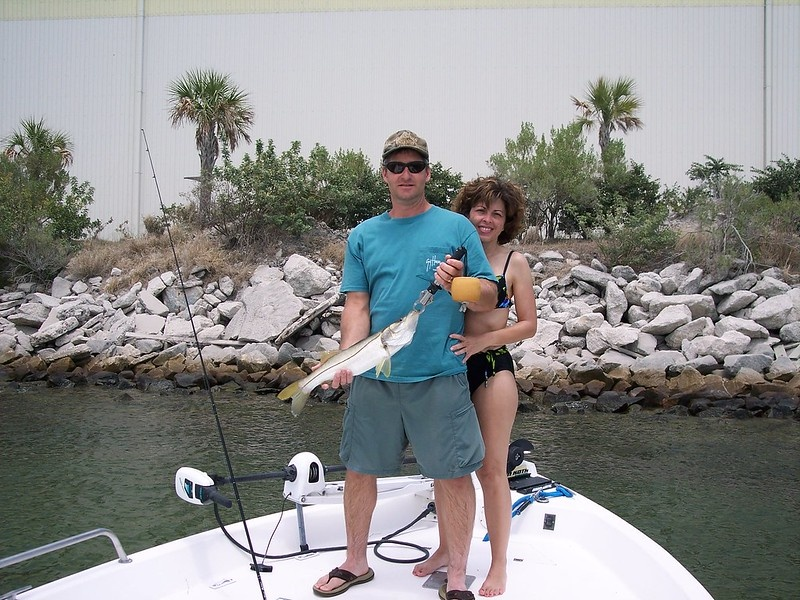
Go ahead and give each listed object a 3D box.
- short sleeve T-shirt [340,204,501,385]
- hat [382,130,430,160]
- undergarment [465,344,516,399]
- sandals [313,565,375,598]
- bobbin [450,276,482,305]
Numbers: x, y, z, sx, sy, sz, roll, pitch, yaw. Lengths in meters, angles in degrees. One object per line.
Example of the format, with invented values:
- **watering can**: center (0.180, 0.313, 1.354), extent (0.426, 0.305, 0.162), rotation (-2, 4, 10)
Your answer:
- **short sleeve T-shirt**: center (0.111, 0.002, 3.018), extent (0.960, 1.107, 0.548), rotation (-1, -5, 7)
- **hat**: center (0.060, -0.803, 2.962), extent (0.188, 0.151, 0.264), rotation (-3, 6, -41)
- **undergarment**: center (0.500, 0.401, 3.201), extent (0.228, 0.231, 0.141), rotation (-12, -23, -7)
- **sandals**: center (-0.308, 1.508, 3.140), extent (0.253, 0.081, 0.123), rotation (0, -1, -33)
- **bobbin**: center (0.320, -0.048, 2.729), extent (0.112, 0.101, 0.117), rotation (1, 6, 5)
